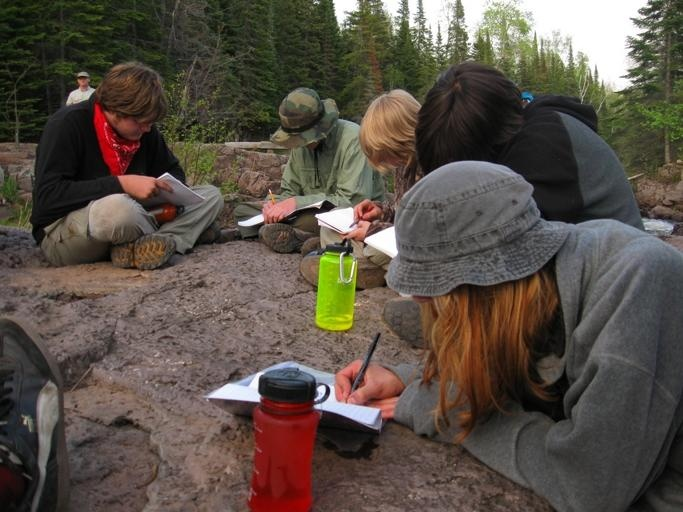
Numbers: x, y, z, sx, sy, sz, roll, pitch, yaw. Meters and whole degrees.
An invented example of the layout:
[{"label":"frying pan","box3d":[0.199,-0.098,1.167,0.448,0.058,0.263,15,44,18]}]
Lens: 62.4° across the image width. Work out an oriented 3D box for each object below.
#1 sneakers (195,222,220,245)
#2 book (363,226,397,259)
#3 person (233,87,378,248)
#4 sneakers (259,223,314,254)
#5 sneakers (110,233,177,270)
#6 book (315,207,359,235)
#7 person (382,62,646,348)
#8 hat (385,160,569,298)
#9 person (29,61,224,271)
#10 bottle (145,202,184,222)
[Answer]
[{"label":"sneakers","box3d":[-1.084,-0.198,4.562,0.164,0.167,0.165,-2,1,8]},{"label":"book","box3d":[0.216,-0.051,2.918,0.158,0.056,0.241,-2,19,31]},{"label":"person","box3d":[-0.262,-0.754,4.900,1.043,1.377,1.364,16,27,41]},{"label":"sneakers","box3d":[-0.434,-0.154,4.573,0.449,0.212,0.196,4,14,-14]},{"label":"sneakers","box3d":[-1.359,-0.025,3.801,0.346,0.225,0.136,-8,-11,2]},{"label":"book","box3d":[-0.012,-0.264,3.887,0.211,0.073,0.216,22,24,33]},{"label":"person","box3d":[0.709,-0.218,2.505,1.183,1.179,0.910,-15,7,-14]},{"label":"hat","box3d":[0.366,-0.084,1.690,0.438,0.231,0.417,-33,11,-12]},{"label":"person","box3d":[-1.612,-0.651,4.055,1.132,1.427,1.325,6,13,7]},{"label":"bottle","box3d":[-1.298,-0.336,4.158,0.215,0.093,0.104,-5,10,46]}]
